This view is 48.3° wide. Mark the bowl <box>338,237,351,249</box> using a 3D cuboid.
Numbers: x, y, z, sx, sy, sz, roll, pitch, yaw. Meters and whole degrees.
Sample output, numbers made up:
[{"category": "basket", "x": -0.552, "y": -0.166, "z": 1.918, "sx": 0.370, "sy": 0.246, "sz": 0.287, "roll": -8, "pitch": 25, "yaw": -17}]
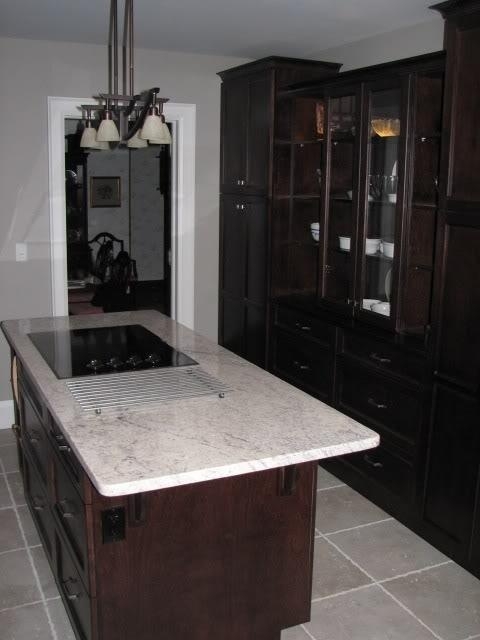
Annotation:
[{"category": "bowl", "x": 0.553, "y": -0.408, "z": 2.810, "sx": 0.049, "sy": 0.027, "sz": 0.063, "roll": -4, "pitch": 22, "yaw": -17}]

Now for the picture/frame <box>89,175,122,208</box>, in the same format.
[{"category": "picture/frame", "x": -1.178, "y": -1.120, "z": 4.617, "sx": 0.234, "sy": 0.267, "sz": 0.019, "roll": -8, "pitch": 14, "yaw": -30}]

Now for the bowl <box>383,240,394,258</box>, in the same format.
[{"category": "bowl", "x": 0.678, "y": -0.323, "z": 2.473, "sx": 0.055, "sy": 0.044, "sz": 0.057, "roll": -1, "pitch": 13, "yaw": 0}]

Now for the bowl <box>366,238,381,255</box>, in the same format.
[{"category": "bowl", "x": 0.648, "y": -0.358, "z": 2.599, "sx": 0.063, "sy": 0.055, "sz": 0.068, "roll": 0, "pitch": 12, "yaw": 0}]
